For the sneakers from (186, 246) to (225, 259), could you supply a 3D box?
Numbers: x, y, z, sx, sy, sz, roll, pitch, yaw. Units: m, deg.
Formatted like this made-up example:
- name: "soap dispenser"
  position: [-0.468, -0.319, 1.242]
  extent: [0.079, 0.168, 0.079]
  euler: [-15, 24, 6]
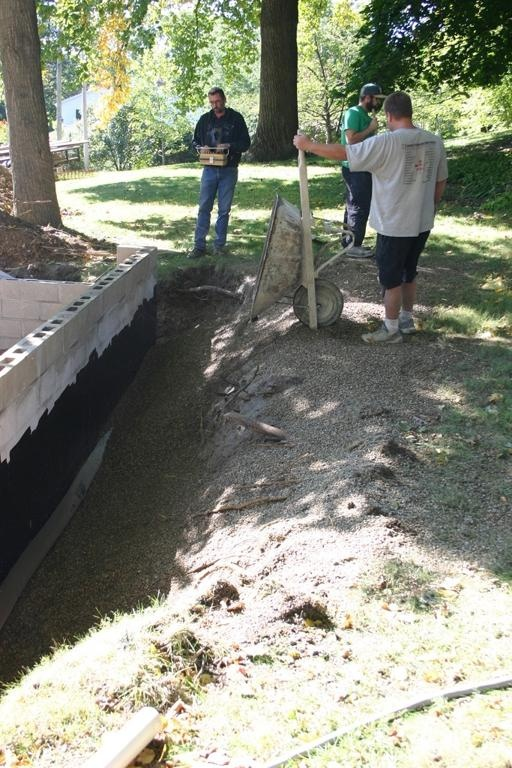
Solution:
- name: "sneakers"
  position: [-0.657, -1.699, 8.747]
  extent: [0.569, 0.219, 0.183]
  euler: [-2, 22, -13]

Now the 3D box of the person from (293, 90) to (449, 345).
- name: "person"
  position: [0.946, -1.193, 5.193]
  extent: [0.967, 1.937, 0.472]
  euler: [0, 21, -3]

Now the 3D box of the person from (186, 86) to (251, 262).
- name: "person"
  position: [-0.466, -2.661, 8.524]
  extent: [0.719, 2.040, 1.112]
  euler: [1, 20, -1]
